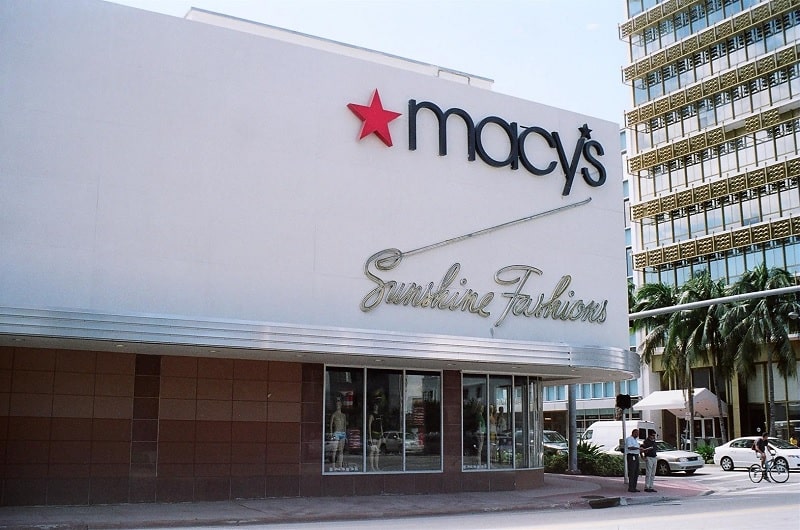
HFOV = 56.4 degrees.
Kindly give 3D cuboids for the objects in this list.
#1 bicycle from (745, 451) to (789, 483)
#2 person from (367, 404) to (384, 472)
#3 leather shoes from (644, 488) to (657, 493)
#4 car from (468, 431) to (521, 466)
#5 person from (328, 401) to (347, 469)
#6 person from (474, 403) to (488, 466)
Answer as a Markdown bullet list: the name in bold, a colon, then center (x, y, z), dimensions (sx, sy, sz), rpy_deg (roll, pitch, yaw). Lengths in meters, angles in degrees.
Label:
- **bicycle**: center (15.211, 8.448, 30.607), dimensions (1.770, 1.156, 0.908), rpy_deg (-4, -12, 22)
- **person**: center (-0.874, 6.185, 26.642), dimensions (0.590, 2.316, 0.196), rpy_deg (3, -13, -12)
- **leather shoes**: center (9.356, 8.437, 27.717), dimensions (0.344, 0.146, 0.193), rpy_deg (0, -9, 2)
- **car**: center (3.562, 7.144, 28.501), dimensions (1.921, 1.162, 1.135), rpy_deg (9, -15, -17)
- **person**: center (-2.185, 6.023, 26.243), dimensions (0.615, 2.459, 0.371), rpy_deg (8, -15, -30)
- **person**: center (3.104, 6.524, 28.287), dimensions (0.464, 2.258, 0.184), rpy_deg (5, -14, -22)
